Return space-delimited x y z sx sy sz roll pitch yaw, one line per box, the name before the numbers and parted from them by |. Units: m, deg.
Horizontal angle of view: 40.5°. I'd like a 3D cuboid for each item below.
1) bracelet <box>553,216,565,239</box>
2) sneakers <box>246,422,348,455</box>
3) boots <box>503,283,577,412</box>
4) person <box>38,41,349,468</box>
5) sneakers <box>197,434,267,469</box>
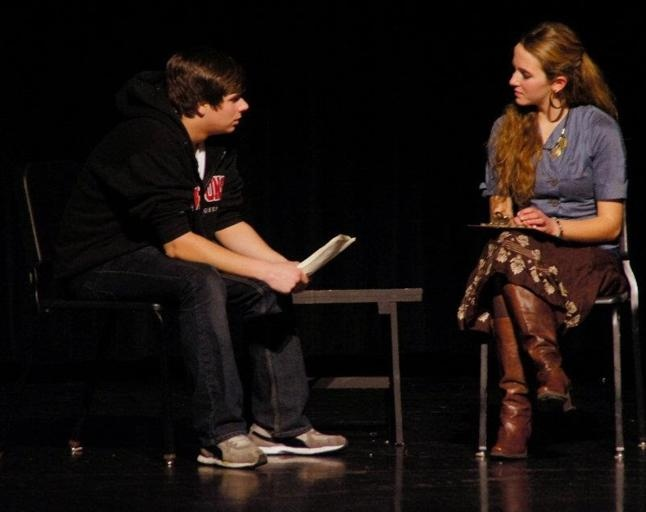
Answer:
bracelet | 0.776 -0.099 2.837 0.028 0.054 0.051 -4 -20 27
sneakers | -0.080 0.613 2.940 0.336 0.101 0.101 -1 -4 4
boots | 0.675 0.280 2.702 0.185 0.389 0.199 -2 2 -7
person | -0.414 -0.015 2.879 0.684 1.348 0.599 -3 2 -37
sneakers | -0.274 0.613 2.755 0.251 0.085 0.091 -4 -9 28
